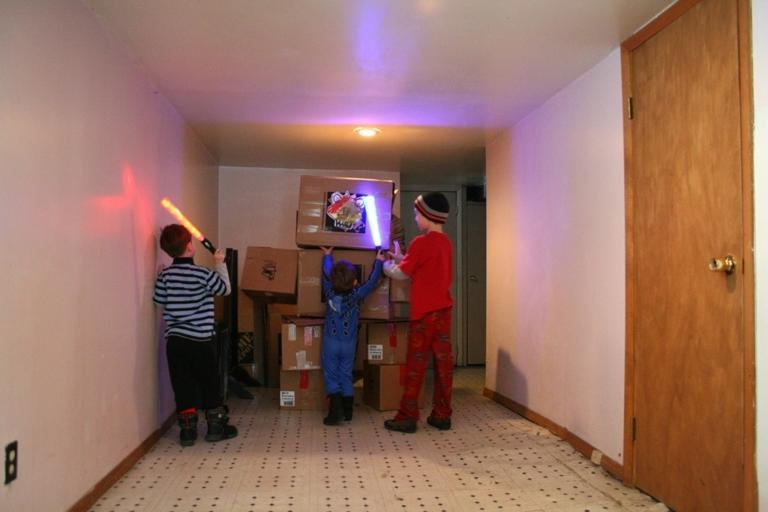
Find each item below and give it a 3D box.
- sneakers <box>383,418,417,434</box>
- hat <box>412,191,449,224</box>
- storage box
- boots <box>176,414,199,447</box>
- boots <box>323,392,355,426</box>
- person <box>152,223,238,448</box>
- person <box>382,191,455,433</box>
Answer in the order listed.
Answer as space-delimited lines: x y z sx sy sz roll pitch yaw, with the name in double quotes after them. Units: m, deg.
0.121 1.229 4.224 0.215 0.092 0.098 2 -3 32 "sneakers"
0.398 -0.370 4.404 0.263 0.209 0.194 24 15 -19 "hat"
-0.474 0.370 5.344 1.826 1.399 1.750 0 -7 -1 "storage box"
-1.350 1.165 3.934 0.148 0.232 0.141 0 6 1 "boots"
-0.327 1.146 4.366 0.231 0.226 0.205 2 -3 24 "boots"
-1.300 0.533 3.973 0.508 1.487 0.305 -2 6 -22 "person"
0.267 0.397 4.310 0.501 1.754 0.501 1 6 6 "person"
